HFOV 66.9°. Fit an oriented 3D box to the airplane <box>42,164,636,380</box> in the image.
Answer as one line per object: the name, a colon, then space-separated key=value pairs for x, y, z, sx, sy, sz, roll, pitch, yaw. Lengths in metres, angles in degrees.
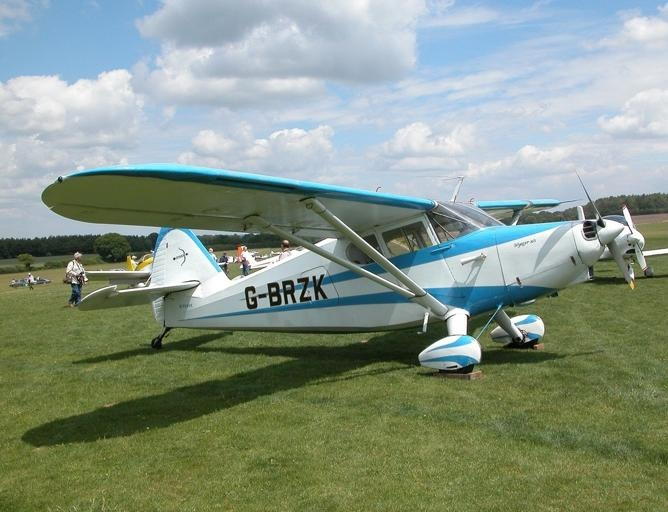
airplane: x=-0.354 y=0.155 z=7.104 sx=7.426 sy=2.714 sz=4.048 roll=-1 pitch=10 yaw=20
